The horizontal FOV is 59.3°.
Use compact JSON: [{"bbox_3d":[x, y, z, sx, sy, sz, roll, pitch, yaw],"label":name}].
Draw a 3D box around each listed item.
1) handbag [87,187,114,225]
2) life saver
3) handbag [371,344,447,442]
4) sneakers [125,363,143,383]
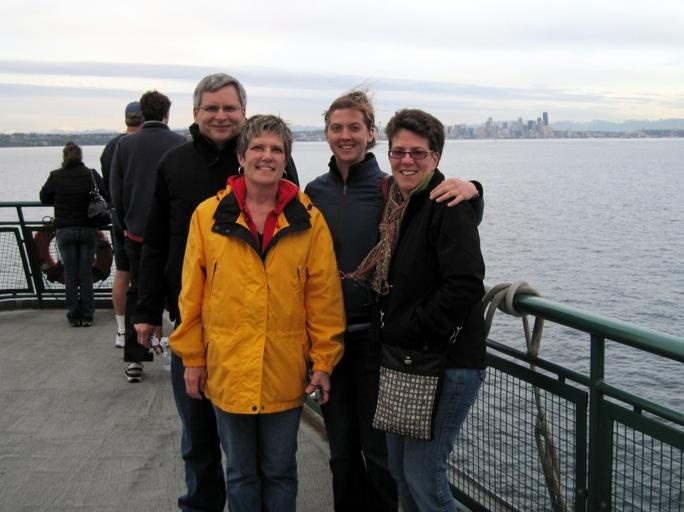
[{"bbox_3d":[-2.748,-0.555,6.805,0.175,0.392,0.383,-9,-13,-6],"label":"handbag"},{"bbox_3d":[-3.795,0.027,8.206,0.901,0.978,0.259,-8,-1,1],"label":"life saver"},{"bbox_3d":[0.319,0.692,2.967,0.347,0.456,0.156,7,15,30],"label":"handbag"},{"bbox_3d":[-1.942,1.093,5.610,0.092,0.099,0.228,1,7,-13],"label":"sneakers"}]
